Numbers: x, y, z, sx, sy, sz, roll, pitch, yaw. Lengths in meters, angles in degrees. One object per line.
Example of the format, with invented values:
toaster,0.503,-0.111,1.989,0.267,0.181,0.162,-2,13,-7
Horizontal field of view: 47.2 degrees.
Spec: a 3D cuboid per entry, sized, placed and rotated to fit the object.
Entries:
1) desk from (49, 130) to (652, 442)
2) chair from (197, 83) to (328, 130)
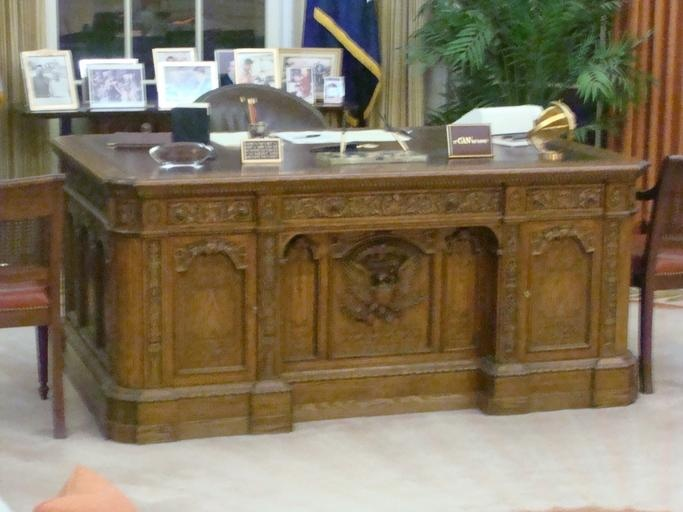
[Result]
desk,0.030,0.112,3.590,2.637,1.178,0.797,-4,16,-11
chair,-0.446,-0.831,4.399,0.709,0.257,0.243,-2,16,-2
